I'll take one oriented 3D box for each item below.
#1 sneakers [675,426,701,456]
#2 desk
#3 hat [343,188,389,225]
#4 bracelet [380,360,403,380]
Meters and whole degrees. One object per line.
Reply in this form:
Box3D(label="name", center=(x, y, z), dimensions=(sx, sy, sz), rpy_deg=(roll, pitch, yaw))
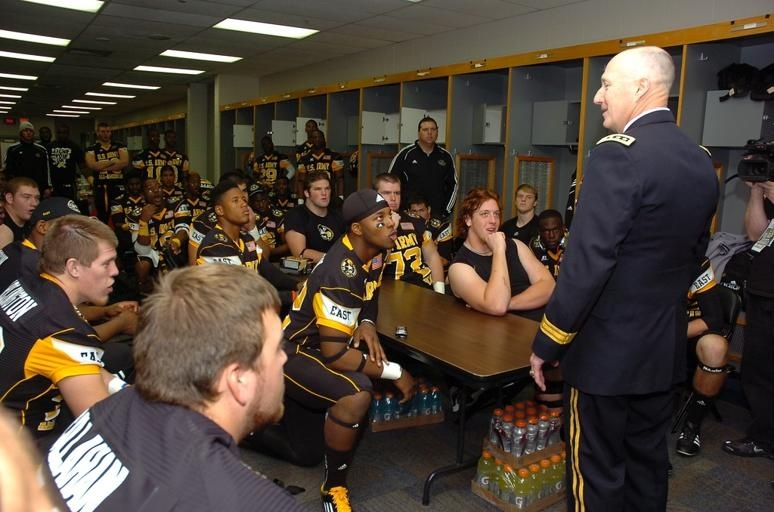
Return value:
Box3D(label="sneakers", center=(1.851, 1.149, 3.122), dimensions=(0.092, 0.098, 0.257), rpy_deg=(0, 6, 26))
Box3D(label="desk", center=(0.341, 0.440, 2.642), dimensions=(0.906, 0.743, 1.569), rpy_deg=(-7, 15, -34))
Box3D(label="hat", center=(-0.114, -0.229, 2.503), dimensions=(0.205, 0.119, 0.149), rpy_deg=(-9, 23, 18))
Box3D(label="bracelet", center=(0.018, 0.581, 2.542), dimensions=(0.117, 0.049, 0.083), rpy_deg=(-6, 13, -43))
